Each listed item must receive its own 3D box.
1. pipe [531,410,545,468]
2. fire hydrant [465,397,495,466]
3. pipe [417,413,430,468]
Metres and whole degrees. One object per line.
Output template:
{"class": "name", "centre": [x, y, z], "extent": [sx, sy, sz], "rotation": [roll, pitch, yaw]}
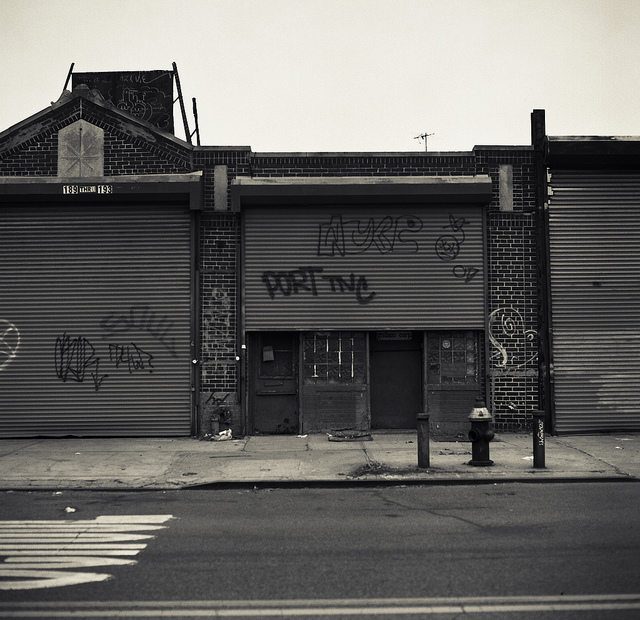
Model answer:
{"class": "pipe", "centre": [3.552, 2.084, 21.625], "extent": [0.174, 0.898, 0.196], "rotation": [0, 8, 8]}
{"class": "fire hydrant", "centre": [2.643, 2.015, 21.997], "extent": [0.454, 1.076, 0.610], "rotation": [0, 8, 8]}
{"class": "pipe", "centre": [1.671, 2.099, 21.568], "extent": [0.163, 0.873, 0.164], "rotation": [-1, 8, -2]}
